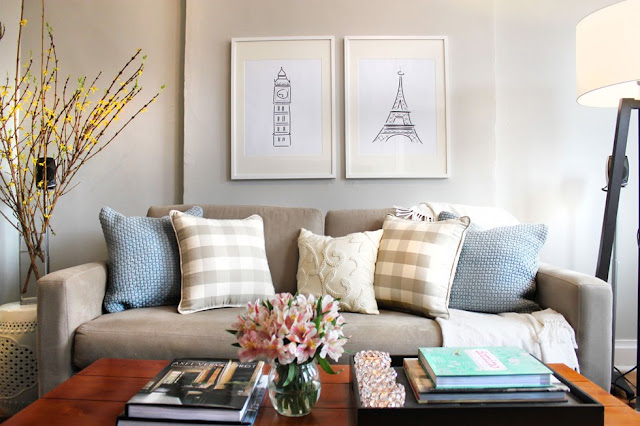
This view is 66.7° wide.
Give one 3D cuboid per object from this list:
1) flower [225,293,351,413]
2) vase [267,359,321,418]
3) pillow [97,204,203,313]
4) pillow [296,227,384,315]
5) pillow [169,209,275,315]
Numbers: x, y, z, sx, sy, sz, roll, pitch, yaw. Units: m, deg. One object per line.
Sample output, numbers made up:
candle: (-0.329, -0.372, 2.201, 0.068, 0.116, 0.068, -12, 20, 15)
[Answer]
flower: (-0.130, 0.606, 2.243, 0.512, 0.517, 0.516, 5, -7, -36)
vase: (-0.130, 0.758, 2.181, 0.233, 0.223, 0.233, 1, -6, -10)
pillow: (-1.034, 0.298, 2.982, 0.605, 0.601, 0.228, -2, -8, -22)
pillow: (0.128, 0.355, 2.883, 0.481, 0.447, 0.184, 0, -28, 16)
pillow: (-0.614, 0.317, 2.955, 0.587, 0.549, 0.307, -1, -5, -21)
